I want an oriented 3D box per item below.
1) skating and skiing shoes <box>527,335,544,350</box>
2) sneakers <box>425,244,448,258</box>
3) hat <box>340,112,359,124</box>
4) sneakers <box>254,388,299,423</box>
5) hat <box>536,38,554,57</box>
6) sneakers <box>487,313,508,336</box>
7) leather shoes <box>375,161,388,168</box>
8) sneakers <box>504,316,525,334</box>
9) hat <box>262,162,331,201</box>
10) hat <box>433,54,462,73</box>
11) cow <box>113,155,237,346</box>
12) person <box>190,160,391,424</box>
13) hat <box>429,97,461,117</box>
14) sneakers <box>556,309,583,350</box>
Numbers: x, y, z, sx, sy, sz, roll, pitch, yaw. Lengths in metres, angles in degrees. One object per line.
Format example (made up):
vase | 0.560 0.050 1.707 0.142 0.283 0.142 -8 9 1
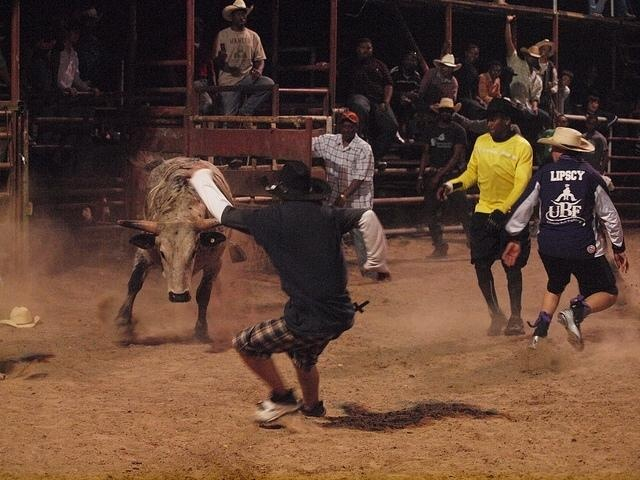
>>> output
skating and skiing shoes | 2.053 0.969 7.223 0.141 0.154 0.071 -1 -11 26
sneakers | 1.933 0.167 12.390 0.404 0.224 0.222 -2 12 -14
hat | 0.379 -1.623 10.001 0.207 0.141 0.314 1 11 1
sneakers | -0.345 1.325 5.983 0.384 0.157 0.202 -23 19 2
hat | 4.186 -3.603 14.099 0.347 0.315 0.146 2 15 0
sneakers | 1.929 0.888 8.177 0.215 0.247 0.273 3 12 12
leather shoes | 1.069 -1.326 13.113 0.141 0.067 0.187 2 0 17
sneakers | 2.063 0.910 8.068 0.161 0.154 0.385 0 -9 13
hat | -0.196 -0.429 5.687 0.349 0.137 0.385 -4 24 -22
hat | 2.180 -3.062 13.001 0.411 0.167 0.429 10 -8 4
cow | -1.667 0.051 8.831 1.399 1.776 3.368 1 19 -9
person | -0.186 0.451 5.749 1.401 2.074 0.369 2 13 3
hat | 2.016 -2.197 12.383 0.530 0.178 0.507 0 -14 8
sneakers | 2.331 0.825 7.044 0.236 0.363 0.269 3 13 10
